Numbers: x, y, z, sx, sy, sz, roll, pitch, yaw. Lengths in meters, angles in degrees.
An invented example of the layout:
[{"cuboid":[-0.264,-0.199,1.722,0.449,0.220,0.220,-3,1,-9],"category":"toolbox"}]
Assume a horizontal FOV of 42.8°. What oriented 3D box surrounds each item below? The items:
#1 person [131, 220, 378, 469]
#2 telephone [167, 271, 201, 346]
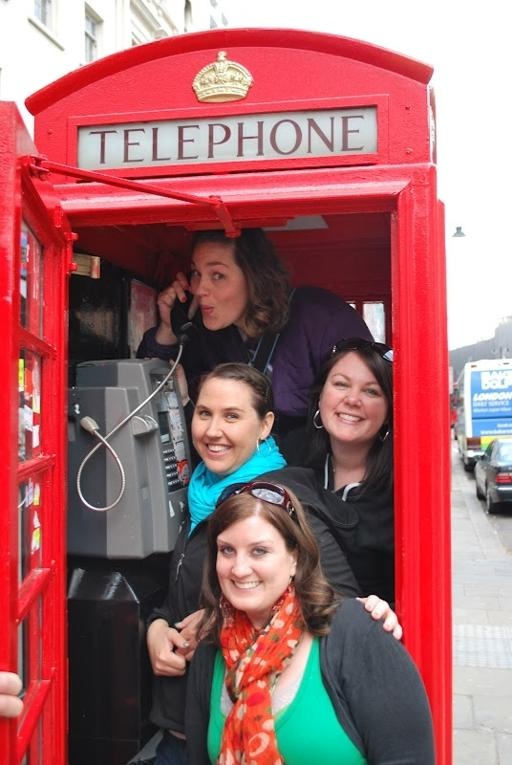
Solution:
[{"cuboid":[0.016,-0.300,3.545,1.209,1.370,0.692,-2,20,10],"category":"person"},{"cuboid":[-0.381,-0.356,3.445,0.082,0.292,0.211,5,10,15],"category":"telephone"}]
